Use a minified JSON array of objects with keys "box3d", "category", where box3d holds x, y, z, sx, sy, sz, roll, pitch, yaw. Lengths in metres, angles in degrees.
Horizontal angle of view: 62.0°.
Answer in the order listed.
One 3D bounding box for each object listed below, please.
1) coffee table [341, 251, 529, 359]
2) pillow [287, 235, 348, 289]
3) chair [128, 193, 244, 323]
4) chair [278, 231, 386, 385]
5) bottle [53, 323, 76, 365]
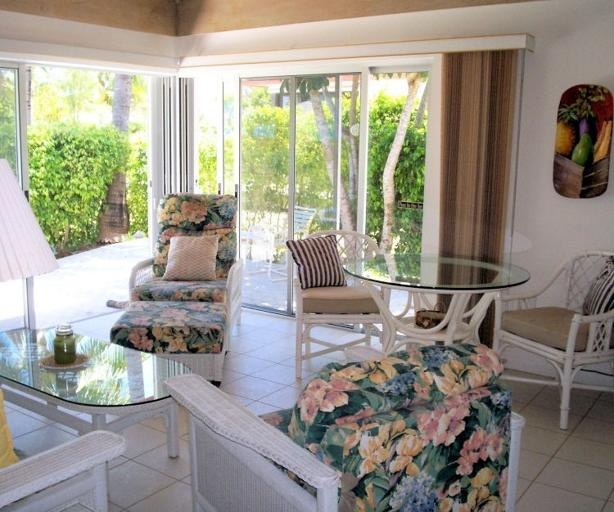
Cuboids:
[{"box3d":[0.824,0.293,3.298,0.856,0.578,0.870,10,17,37],"category":"coffee table"},{"box3d":[0.090,0.053,4.078,0.415,0.409,0.124,-21,-6,1],"category":"pillow"},{"box3d":[-1.029,0.004,4.443,0.903,1.101,1.027,-1,9,-11],"category":"chair"},{"box3d":[0.257,0.376,4.046,0.790,1.094,0.778,0,5,16],"category":"chair"},{"box3d":[-1.318,0.479,2.794,0.113,0.201,0.113,1,6,0],"category":"bottle"}]
